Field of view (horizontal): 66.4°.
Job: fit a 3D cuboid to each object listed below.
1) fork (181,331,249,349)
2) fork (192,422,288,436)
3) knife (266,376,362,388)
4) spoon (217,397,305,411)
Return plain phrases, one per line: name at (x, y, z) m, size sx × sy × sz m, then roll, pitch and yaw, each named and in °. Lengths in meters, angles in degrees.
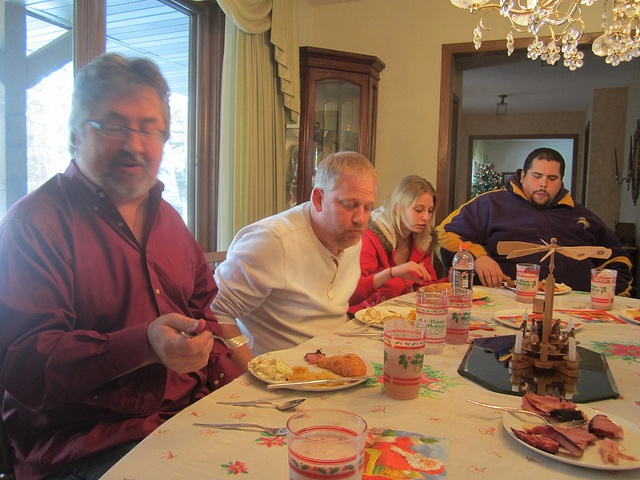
fork at (-0.315, 0.298, 1.460) m, size 0.177 × 0.043 × 0.043 m, roll 4°, pitch 44°, yaw -33°
fork at (-0.184, 0.419, 1.115) m, size 0.218 × 0.018 × 0.033 m, roll 2°, pitch 11°, yaw 10°
knife at (-0.024, 0.366, 1.271) m, size 0.232 × 0.013 × 0.031 m, roll 0°, pitch -2°, yaw -7°
spoon at (-0.147, 0.401, 1.199) m, size 0.206 × 0.026 × 0.037 m, roll 1°, pitch 3°, yaw 1°
